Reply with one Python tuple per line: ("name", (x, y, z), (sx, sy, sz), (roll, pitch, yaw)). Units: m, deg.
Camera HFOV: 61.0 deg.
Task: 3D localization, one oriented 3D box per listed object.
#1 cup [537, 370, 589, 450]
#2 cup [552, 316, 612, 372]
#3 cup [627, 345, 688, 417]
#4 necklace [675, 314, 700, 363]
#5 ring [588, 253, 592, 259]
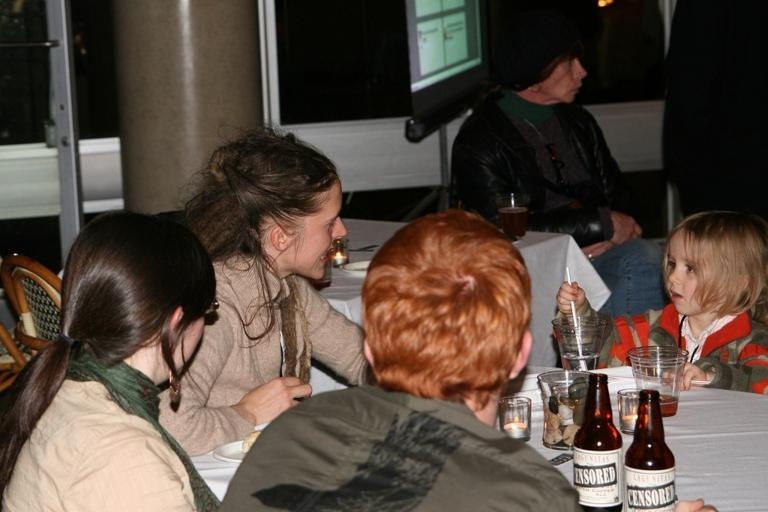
("cup", (0.425, 0.362, 1.565), (0.167, 0.186, 0.159), (0, -3, 0))
("cup", (0.546, 0.251, 1.866), (0.148, 0.148, 0.149), (-3, -9, 0))
("cup", (0.712, 0.294, 1.703), (0.183, 0.183, 0.181), (-1, 5, 0))
("necklace", (1.035, 0.283, 2.223), (0.117, 0.160, 0.040), (0, -3, -13))
("ring", (1.146, -0.003, 3.635), (0.024, 0.023, 0.006), (-24, -9, -7))
